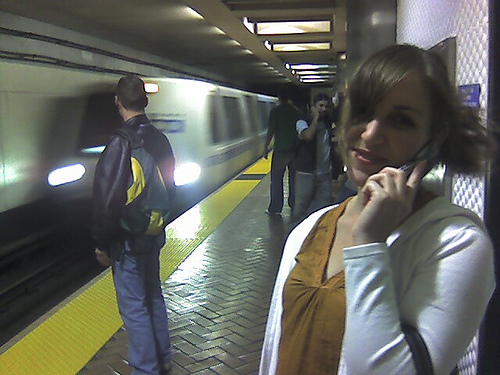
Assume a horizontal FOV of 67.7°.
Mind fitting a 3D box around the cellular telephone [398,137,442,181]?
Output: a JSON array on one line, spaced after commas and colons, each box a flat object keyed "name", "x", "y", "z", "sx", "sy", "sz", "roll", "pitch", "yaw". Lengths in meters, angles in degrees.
[{"name": "cellular telephone", "x": 0.440, "y": -0.079, "z": 0.972, "sx": 0.111, "sy": 0.019, "sz": 0.044, "roll": -47, "pitch": -6, "yaw": -17}]

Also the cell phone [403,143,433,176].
[{"name": "cell phone", "x": 0.436, "y": -0.071, "z": 0.962, "sx": 0.033, "sy": 0.051, "sz": 0.149, "roll": -25, "pitch": 31, "yaw": 45}]

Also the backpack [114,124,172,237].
[{"name": "backpack", "x": -0.783, "y": -0.009, "z": 2.888, "sx": 0.458, "sy": 0.808, "sz": 0.607, "roll": -4, "pitch": -8, "yaw": 34}]
